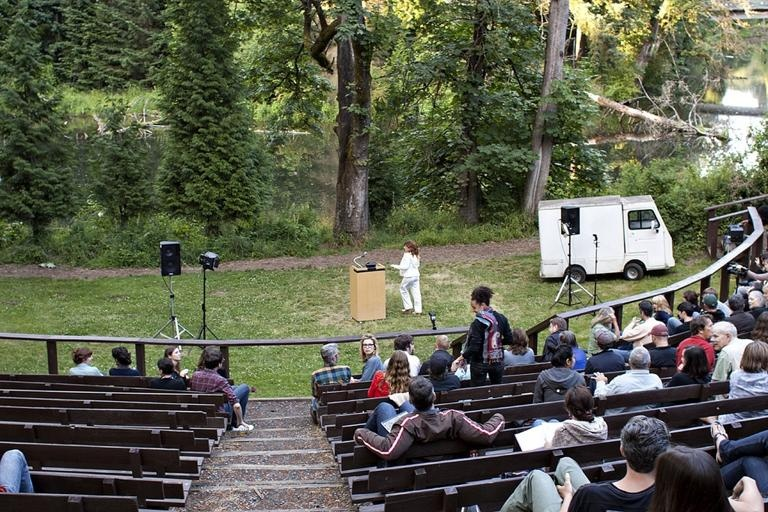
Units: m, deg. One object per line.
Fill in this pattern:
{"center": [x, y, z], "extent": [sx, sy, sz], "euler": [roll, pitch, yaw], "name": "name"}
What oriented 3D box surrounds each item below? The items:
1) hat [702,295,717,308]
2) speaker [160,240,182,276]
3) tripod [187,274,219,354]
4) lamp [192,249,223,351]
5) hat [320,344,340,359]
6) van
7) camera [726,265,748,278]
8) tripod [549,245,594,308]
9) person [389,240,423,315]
{"center": [11.307, 1.554, 46.022], "extent": [0.472, 0.391, 0.322], "euler": [-2, 0, 8], "name": "hat"}
{"center": [-8.130, 0.086, 50.574], "extent": [0.666, 1.236, 0.580], "euler": [-2, 0, 5], "name": "speaker"}
{"center": [-6.901, 1.884, 51.074], "extent": [1.393, 2.878, 1.222], "euler": [-2, -2, 6], "name": "tripod"}
{"center": [-6.703, 1.685, 50.862], "extent": [1.129, 3.665, 1.306], "euler": [0, 1, -25], "name": "lamp"}
{"center": [-1.852, 3.167, 44.950], "extent": [0.516, 0.450, 0.392], "euler": [-11, 20, -17], "name": "hat"}
{"center": [8.984, -0.470, 55.070], "extent": [5.761, 3.157, 2.309], "euler": [-3, 0, -4], "name": "van"}
{"center": [12.776, 0.523, 47.983], "extent": [0.491, 0.189, 0.497], "euler": [6, -8, 32], "name": "camera"}
{"center": [7.456, 0.839, 53.420], "extent": [1.803, 2.375, 1.466], "euler": [0, -7, -8], "name": "tripod"}
{"center": [1.029, 0.841, 52.984], "extent": [1.129, 2.604, 1.549], "euler": [0, 0, -38], "name": "person"}
